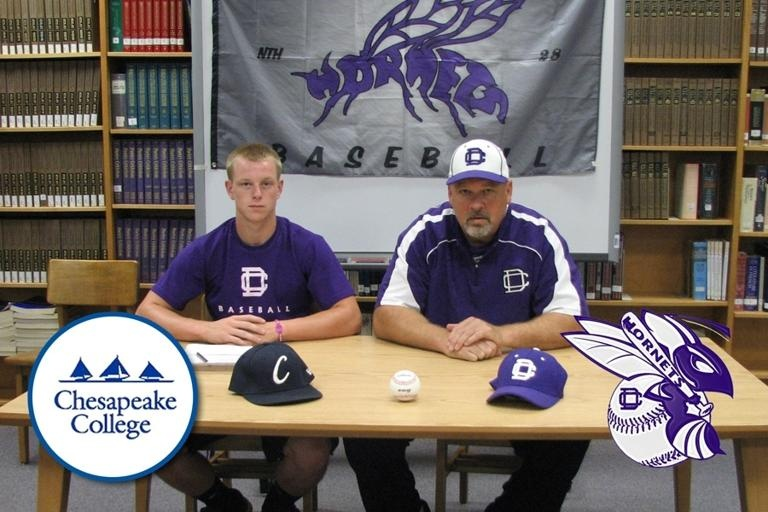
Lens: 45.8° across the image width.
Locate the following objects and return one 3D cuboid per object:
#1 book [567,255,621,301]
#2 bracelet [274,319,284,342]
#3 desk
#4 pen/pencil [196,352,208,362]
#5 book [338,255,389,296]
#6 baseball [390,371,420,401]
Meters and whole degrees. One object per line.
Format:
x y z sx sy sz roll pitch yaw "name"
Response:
1.342 0.157 5.786 0.283 0.409 0.412 0 3 11 "book"
-0.483 0.350 4.279 0.020 0.067 0.070 -7 35 0 "bracelet"
0.129 0.763 3.919 2.975 0.617 0.690 -2 7 -3 "desk"
-0.802 0.450 4.023 0.052 0.014 0.029 43 28 14 "pen/pencil"
-0.121 0.093 5.649 0.258 0.289 0.285 -1 11 -2 "book"
0.088 0.536 3.798 0.115 0.085 0.115 -3 -3 40 "baseball"
